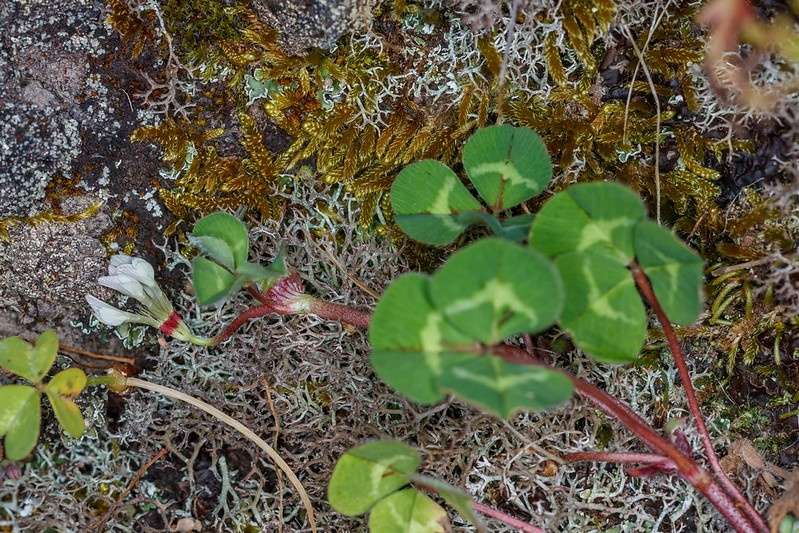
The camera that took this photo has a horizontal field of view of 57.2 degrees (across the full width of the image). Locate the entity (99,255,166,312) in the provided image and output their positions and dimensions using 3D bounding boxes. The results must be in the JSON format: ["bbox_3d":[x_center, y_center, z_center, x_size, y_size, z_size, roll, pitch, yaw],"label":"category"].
[{"bbox_3d":[-0.985,0.079,2.784,0.252,0.109,0.177,15,62,-7],"label":"entity"}]
